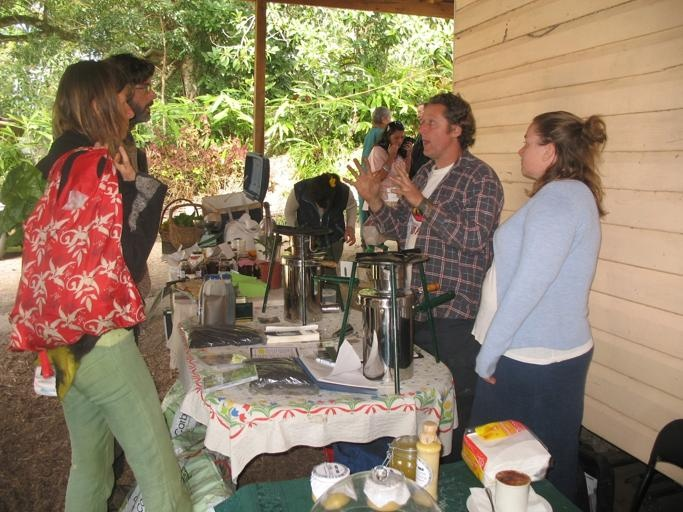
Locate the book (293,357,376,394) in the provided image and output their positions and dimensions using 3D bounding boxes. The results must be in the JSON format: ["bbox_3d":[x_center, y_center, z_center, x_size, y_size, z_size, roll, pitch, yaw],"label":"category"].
[{"bbox_3d":[-0.044,0.418,1.819,0.133,0.033,0.133,1,20,-29],"label":"book"}]

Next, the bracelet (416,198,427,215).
[{"bbox_3d":[0.377,-0.235,2.411,0.061,0.066,0.070,3,2,18],"label":"bracelet"}]

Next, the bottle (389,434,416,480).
[{"bbox_3d":[0.177,0.568,1.506,0.091,0.093,0.096,0,-2,30],"label":"bottle"}]

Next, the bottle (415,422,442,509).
[{"bbox_3d":[0.244,0.581,1.493,0.067,0.249,0.245,1,11,10],"label":"bottle"}]
